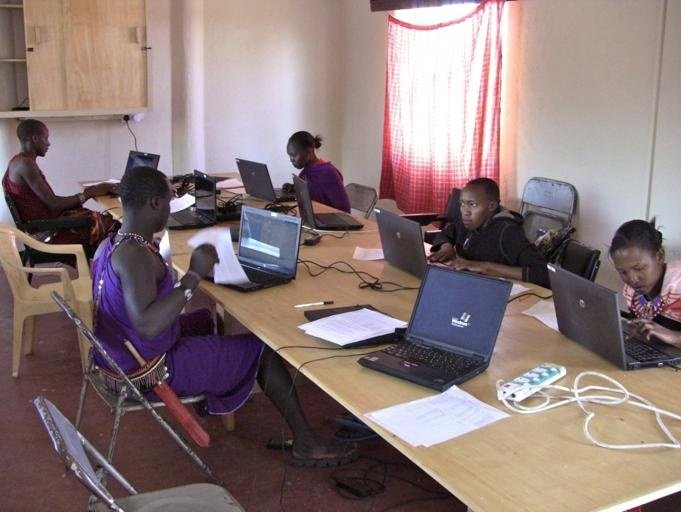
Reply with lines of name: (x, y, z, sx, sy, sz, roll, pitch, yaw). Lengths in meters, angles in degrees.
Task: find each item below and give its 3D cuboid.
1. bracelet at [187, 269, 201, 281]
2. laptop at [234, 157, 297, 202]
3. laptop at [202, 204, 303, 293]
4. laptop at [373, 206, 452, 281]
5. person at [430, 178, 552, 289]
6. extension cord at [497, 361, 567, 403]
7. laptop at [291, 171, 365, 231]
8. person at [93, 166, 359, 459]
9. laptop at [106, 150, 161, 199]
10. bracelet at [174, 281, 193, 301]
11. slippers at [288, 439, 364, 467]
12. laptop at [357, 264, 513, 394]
bracelet: (-0.601, 0.079, 2.192, 0.050, 0.035, 0.081, -3, 16, -11)
laptop: (-0.590, -0.648, 4.453, 0.408, 0.321, 0.468, -13, 22, -37)
laptop: (-0.500, -0.060, 2.705, 0.502, 0.334, 0.394, 14, 13, 39)
laptop: (0.408, -0.094, 2.887, 0.329, 0.326, 0.457, -15, 27, -27)
person: (0.877, -0.143, 3.204, 0.435, 0.604, 0.839, -14, 23, -33)
extension cord: (0.653, 0.394, 1.799, 0.303, 0.040, 0.096, -14, 22, -37)
laptop: (-0.096, -0.392, 3.805, 0.501, 0.332, 0.603, 1, 13, -2)
person: (-0.519, 0.150, 2.707, 1.333, 1.549, 0.799, -10, 15, -30)
laptop: (-1.676, -0.745, 4.710, 0.350, 0.237, 0.413, 39, 16, 25)
bracelet: (-0.616, 0.136, 2.093, 0.046, 0.065, 0.069, -18, 57, -45)
slippers: (-0.073, 0.906, 2.470, 0.297, 0.124, 0.130, -8, 19, -9)
laptop: (0.347, 0.241, 1.941, 0.412, 0.300, 0.450, 9, 15, 41)
